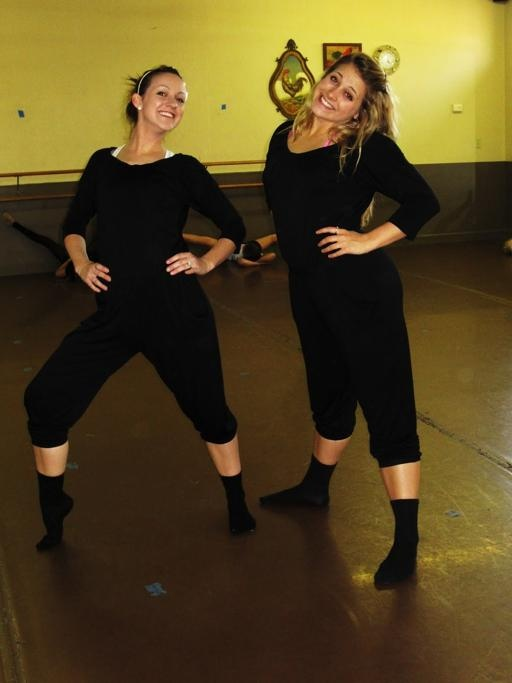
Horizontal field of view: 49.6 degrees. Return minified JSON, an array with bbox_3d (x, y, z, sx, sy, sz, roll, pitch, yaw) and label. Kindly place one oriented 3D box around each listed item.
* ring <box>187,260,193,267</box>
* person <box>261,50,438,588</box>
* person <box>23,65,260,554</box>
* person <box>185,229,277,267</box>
[{"bbox_3d":[-0.157,-0.185,1.313,0.012,0.014,0.005,4,3,-5],"label":"ring"},{"bbox_3d":[0.214,-0.066,1.425,0.304,1.245,0.487,-6,10,-18],"label":"person"},{"bbox_3d":[-0.329,-0.058,1.418,0.626,1.265,0.250,-4,9,-2],"label":"person"},{"bbox_3d":[-0.302,-1.098,6.589,1.034,0.293,0.690,10,13,24],"label":"person"}]
